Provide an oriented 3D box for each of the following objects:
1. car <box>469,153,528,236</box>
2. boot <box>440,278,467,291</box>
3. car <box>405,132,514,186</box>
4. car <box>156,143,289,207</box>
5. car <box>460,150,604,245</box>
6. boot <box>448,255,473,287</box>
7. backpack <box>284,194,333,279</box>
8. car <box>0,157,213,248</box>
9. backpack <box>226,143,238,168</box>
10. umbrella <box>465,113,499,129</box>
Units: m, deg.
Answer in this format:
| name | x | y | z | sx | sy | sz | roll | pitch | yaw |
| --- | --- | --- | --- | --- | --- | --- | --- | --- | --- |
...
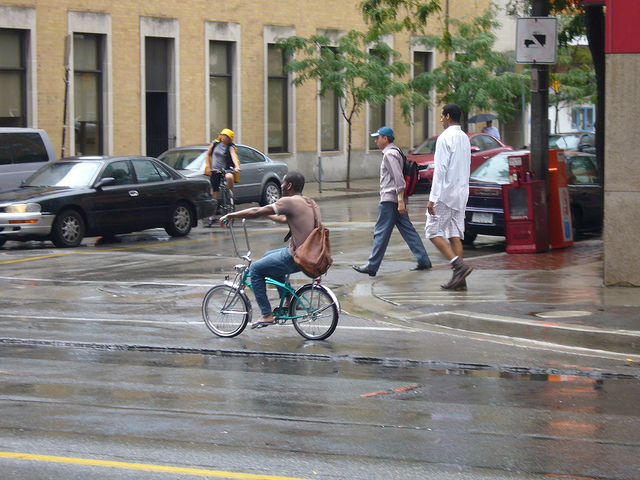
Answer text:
| name | x | y | z | sx | sy | sz | roll | pitch | yaw |
| --- | --- | --- | --- | --- | --- | --- | --- | --- | --- |
| car | 2.943 | -0.803 | 17.791 | 1.395 | 1.104 | 2.517 | 7 | 11 | 7 |
| boot | 1.710 | 0.571 | 12.442 | 0.386 | 0.143 | 0.117 | 2 | 4 | 7 |
| car | 4.168 | -2.607 | 31.038 | 2.238 | 1.433 | 4.852 | 9 | -5 | -29 |
| car | -1.916 | -1.559 | 23.381 | 1.585 | 1.035 | 3.737 | 1 | 1 | 43 |
| car | 3.946 | -0.807 | 17.567 | 1.450 | 0.910 | 3.182 | 2 | 7 | 42 |
| boot | 1.779 | 0.391 | 12.438 | 0.267 | 0.366 | 0.297 | -1 | 5 | 7 |
| backpack | -0.099 | -0.014 | 10.315 | 0.362 | 0.837 | 0.271 | -6 | 6 | -39 |
| car | -4.012 | -0.702 | 18.240 | 1.440 | 0.879 | 3.315 | -1 | -1 | 40 |
| backpack | -1.848 | -1.837 | 21.460 | 0.191 | 0.415 | 0.354 | 9 | -6 | -29 |
| umbrella | 6.228 | -4.598 | 37.991 | 1.297 | 0.351 | 1.168 | -5 | -4 | -2 |
